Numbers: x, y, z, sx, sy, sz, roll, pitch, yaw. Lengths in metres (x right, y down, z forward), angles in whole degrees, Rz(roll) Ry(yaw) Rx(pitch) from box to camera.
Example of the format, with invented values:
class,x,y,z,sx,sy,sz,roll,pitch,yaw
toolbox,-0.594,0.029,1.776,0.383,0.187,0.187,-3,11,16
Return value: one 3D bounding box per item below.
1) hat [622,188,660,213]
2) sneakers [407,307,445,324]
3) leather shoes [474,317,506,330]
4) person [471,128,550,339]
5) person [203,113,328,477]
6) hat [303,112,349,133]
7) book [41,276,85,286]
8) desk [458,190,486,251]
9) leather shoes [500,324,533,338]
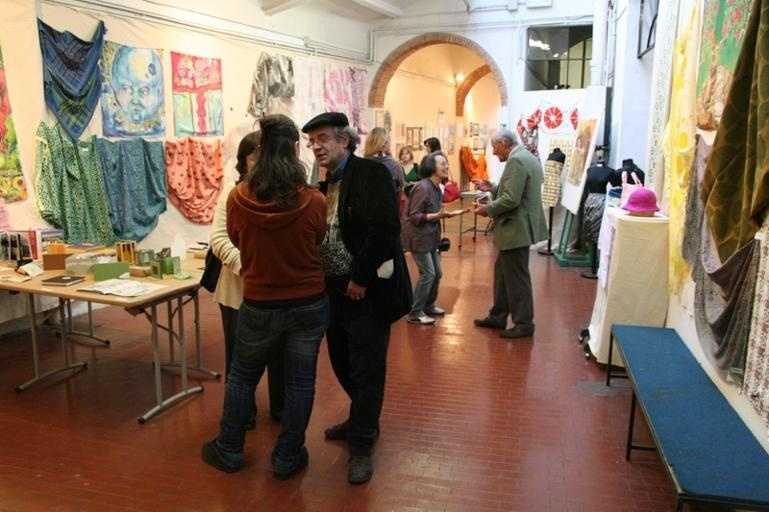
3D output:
class,x,y,z,sx,sy,sz,roll,pitch,yaw
hat,2.374,-0.529,5.112,0.272,0.201,0.354,1,15,5
sneakers,0.473,0.739,6.627,0.254,0.087,0.260,-8,1,22
leather shoes,1.235,0.792,6.487,0.384,0.158,0.132,7,5,22
person,1.407,-0.242,6.175,0.774,2.266,0.749,2,15,9
person,-0.777,0.311,3.660,0.793,2.413,0.392,-2,14,-7
hat,-0.399,-0.868,3.673,0.202,0.076,0.184,1,8,9
book,-2.737,0.206,4.633,0.321,0.039,0.192,0,14,1
desk,1.799,-0.679,11.283,0.533,1.285,1.527,2,10,16
leather shoes,1.482,0.843,6.107,0.295,0.122,0.159,2,-4,3
